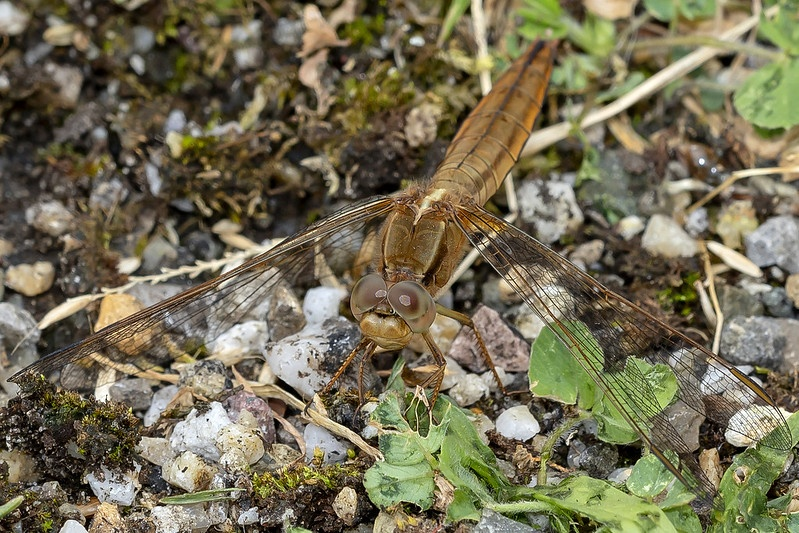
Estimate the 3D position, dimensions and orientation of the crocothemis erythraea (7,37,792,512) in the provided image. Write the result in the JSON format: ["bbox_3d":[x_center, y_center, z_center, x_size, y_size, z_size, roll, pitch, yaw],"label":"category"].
[{"bbox_3d":[-0.417,-0.237,4.463,1.876,4.511,2.956,2,76,-1],"label":"crocothemis erythraea"}]
